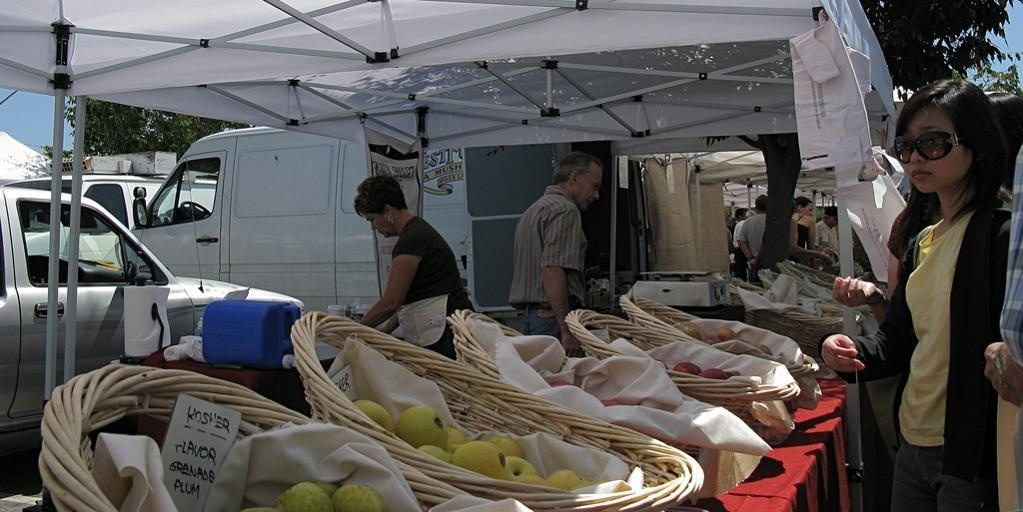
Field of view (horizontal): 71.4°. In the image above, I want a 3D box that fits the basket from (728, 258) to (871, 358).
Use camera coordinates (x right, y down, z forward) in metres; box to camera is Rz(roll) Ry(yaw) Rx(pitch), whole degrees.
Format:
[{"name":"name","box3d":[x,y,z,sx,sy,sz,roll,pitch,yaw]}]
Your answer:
[{"name":"basket","box3d":[2.658,0.639,6.685,1.125,0.385,0.882,20,23,21]}]
